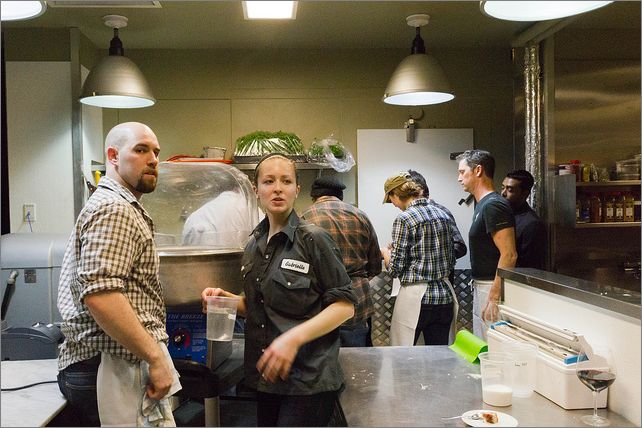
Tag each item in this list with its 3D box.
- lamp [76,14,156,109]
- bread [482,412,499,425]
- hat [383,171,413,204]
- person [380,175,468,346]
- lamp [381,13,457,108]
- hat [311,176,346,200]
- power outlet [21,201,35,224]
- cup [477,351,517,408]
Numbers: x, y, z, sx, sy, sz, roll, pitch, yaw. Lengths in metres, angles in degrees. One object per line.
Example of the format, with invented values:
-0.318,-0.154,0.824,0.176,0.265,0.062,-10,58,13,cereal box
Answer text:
-1.697,-1.378,4.719,0.896,0.886,0.811,0,1,-8,lamp
0.784,0.941,2.284,0.039,0.017,0.049,-1,4,-3,bread
0.616,-0.255,4.212,0.285,0.143,0.202,-38,-6,31,hat
0.799,0.374,3.995,0.609,1.461,0.559,-2,1,7,person
0.894,-1.485,4.513,0.607,0.881,0.716,-1,1,25,lamp
0.047,-0.206,3.843,0.211,0.123,0.170,2,-1,40,hat
-2.939,-0.019,4.948,0.125,0.172,0.031,-2,1,7,power outlet
0.861,0.802,2.432,0.243,0.231,0.232,0,-6,0,cup
